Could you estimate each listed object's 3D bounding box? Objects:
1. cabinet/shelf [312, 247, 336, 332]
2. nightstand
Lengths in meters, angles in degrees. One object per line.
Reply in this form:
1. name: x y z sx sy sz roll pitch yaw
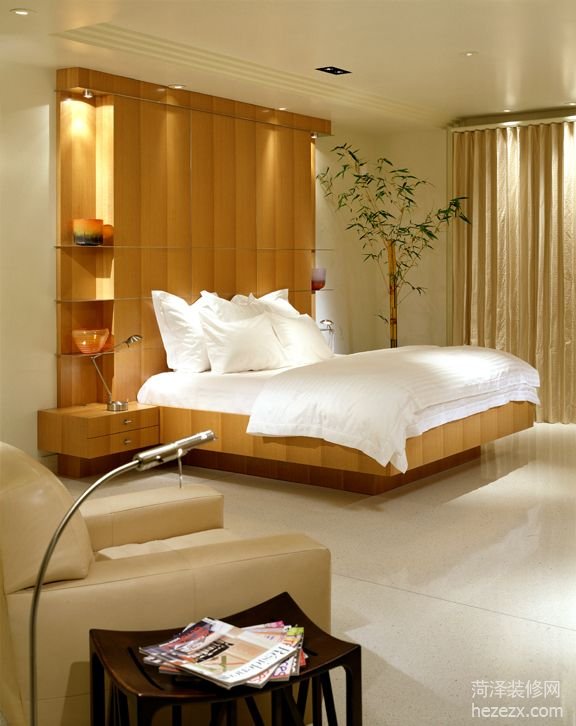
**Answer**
1. cabinet/shelf: 0.368 -0.759 6.581 0.181 0.767 0.188 23 13 42
2. nightstand: -1.345 0.537 4.365 0.528 0.409 0.740 2 3 34
